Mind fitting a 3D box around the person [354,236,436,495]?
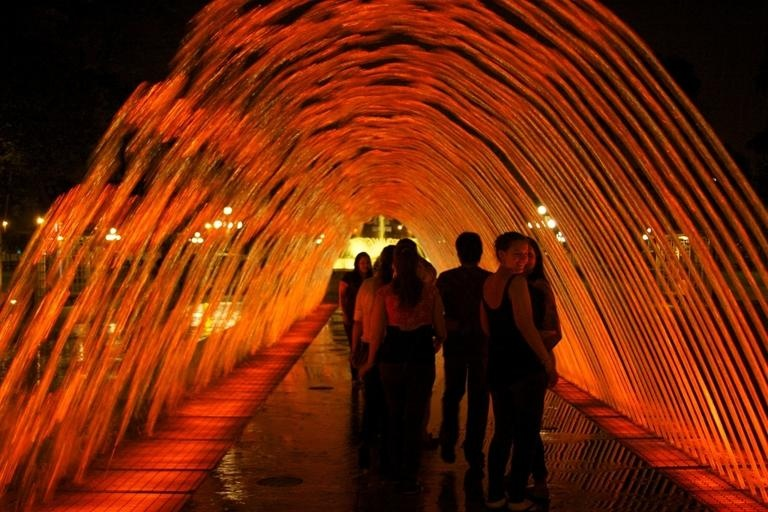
[{"bbox_3d":[0.211,1.215,6.981,0.783,2.658,1.154,9,-25,-13],"label":"person"}]
